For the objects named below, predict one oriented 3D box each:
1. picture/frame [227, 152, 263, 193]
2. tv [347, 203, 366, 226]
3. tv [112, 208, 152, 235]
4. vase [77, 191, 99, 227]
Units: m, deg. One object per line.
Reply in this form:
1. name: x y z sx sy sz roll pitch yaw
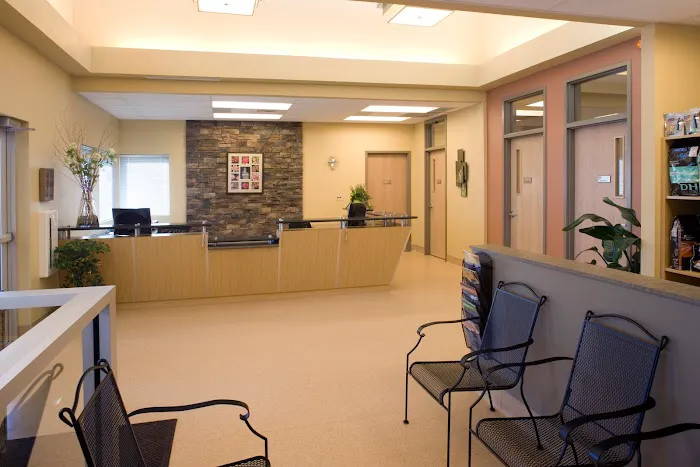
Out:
1. picture/frame: -2.503 -1.439 10.907 0.959 1.022 0.066 0 5 -18
2. tv: 0.093 -0.354 8.354 0.372 0.534 0.546 0 1 -12
3. tv: -3.201 -0.180 6.841 0.494 0.375 0.489 -5 12 -27
4. vase: -4.131 -0.373 7.297 0.278 0.506 0.845 -6 12 -30
